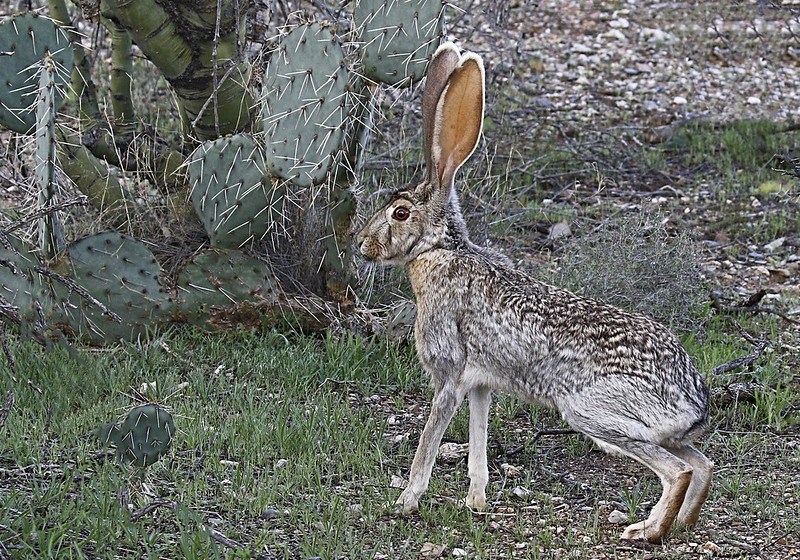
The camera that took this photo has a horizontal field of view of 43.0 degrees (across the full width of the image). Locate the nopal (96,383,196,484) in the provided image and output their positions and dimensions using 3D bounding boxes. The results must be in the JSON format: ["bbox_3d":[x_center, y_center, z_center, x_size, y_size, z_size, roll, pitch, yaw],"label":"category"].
[{"bbox_3d":[-1.483,0.859,5.674,0.325,0.417,0.275,-8,10,-35],"label":"nopal"}]

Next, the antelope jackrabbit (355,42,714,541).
[{"bbox_3d":[0.889,0.043,7.770,3.246,4.356,1.254,7,3,25],"label":"antelope jackrabbit"}]
